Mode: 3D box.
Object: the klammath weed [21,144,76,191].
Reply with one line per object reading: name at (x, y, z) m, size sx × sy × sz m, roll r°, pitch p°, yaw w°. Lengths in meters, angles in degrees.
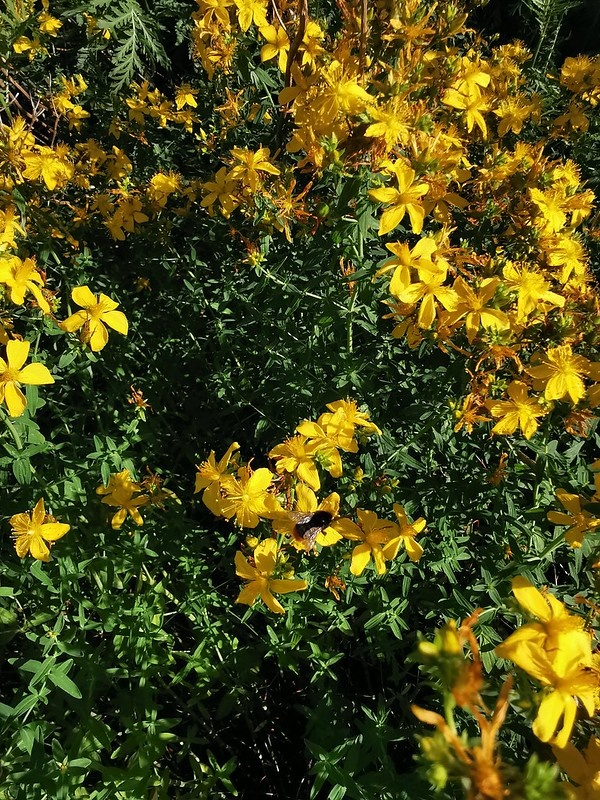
klammath weed at (-0.691, -0.635, 1.934) m, size 0.147 × 0.135 × 0.071 m, roll -18°, pitch 17°, yaw -24°
